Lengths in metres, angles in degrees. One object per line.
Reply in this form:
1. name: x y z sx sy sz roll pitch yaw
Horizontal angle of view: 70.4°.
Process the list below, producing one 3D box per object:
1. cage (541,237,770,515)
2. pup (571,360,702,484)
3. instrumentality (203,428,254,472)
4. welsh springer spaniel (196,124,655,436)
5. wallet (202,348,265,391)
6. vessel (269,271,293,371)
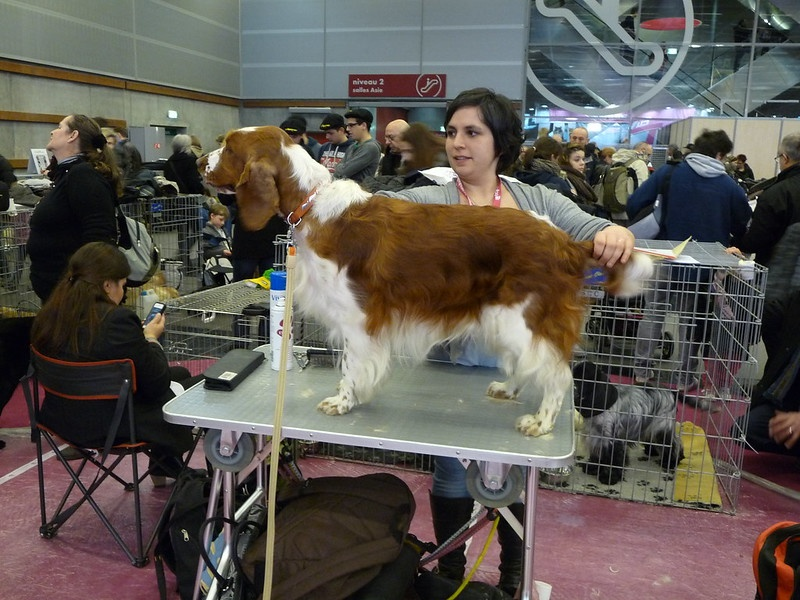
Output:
1. cage: 2.054 0.585 4.540 1.541 2.426 1.787 9 17 14
2. pup: 1.712 0.844 4.217 0.818 0.890 0.504 -3 9 19
3. instrumentality: -0.687 0.597 2.371 0.180 0.187 0.184 -2 1 31
4. welsh springer spaniel: 0.146 -0.055 2.310 1.761 1.105 0.545 2 14 1
5. wallet: -0.756 0.308 2.580 0.210 0.149 0.208 10 12 10
6. vessel: -0.582 0.122 2.740 0.110 0.488 0.110 -11 -10 31
